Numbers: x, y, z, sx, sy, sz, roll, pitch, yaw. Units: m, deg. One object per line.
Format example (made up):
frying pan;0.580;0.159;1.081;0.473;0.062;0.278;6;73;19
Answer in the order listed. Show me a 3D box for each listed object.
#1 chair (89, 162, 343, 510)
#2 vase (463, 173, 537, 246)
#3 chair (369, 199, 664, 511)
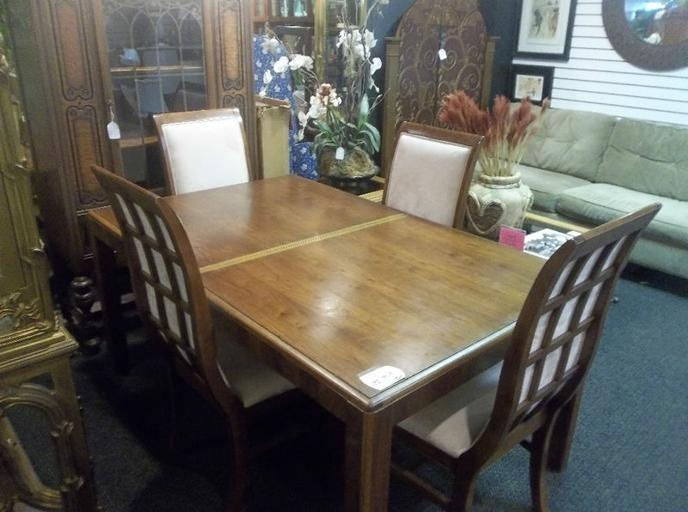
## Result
chair;-0.513;0.364;2.096;0.951;1.420;0.736;-18;34;-36
vase;0.708;-0.242;2.606;0.290;0.333;0.325;-6;13;-28
chair;0.555;0.397;1.753;0.693;1.186;0.365;-16;30;-35
